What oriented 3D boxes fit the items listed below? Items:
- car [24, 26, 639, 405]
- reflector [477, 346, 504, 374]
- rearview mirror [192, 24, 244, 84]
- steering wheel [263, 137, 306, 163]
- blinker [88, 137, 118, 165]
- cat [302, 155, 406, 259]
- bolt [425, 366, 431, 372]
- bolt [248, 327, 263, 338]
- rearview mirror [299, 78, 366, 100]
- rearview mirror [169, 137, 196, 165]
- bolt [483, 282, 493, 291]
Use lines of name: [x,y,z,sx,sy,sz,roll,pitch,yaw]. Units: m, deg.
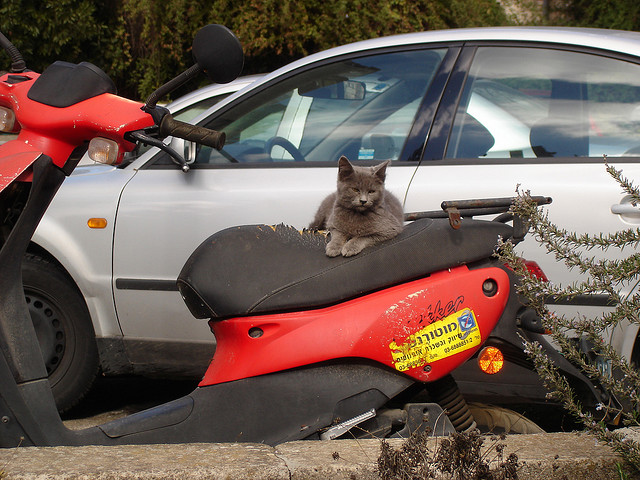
car: [0.069,-0.203,4.613,3.461,1.739,2.066,3,-6,5]
reflector: [0.777,0.542,3.194,0.117,0.119,0.028,-38,9,7]
rearview mirror: [-0.443,-0.805,3.024,0.212,0.250,0.192,-4,16,-8]
steering wheel: [-0.234,-0.589,4.467,0.261,0.123,0.165,-2,16,-5]
blinker: [-0.944,-0.397,3.050,0.091,0.081,0.048,13,14,15]
cat: [0.233,-0.165,3.555,0.370,0.356,0.661,3,-2,2]
bolt: [0.465,0.548,3.004,0.022,0.023,0.006,3,7,-3]
bolt: [-0.278,0.395,3.007,0.062,0.040,0.018,-2,16,-5]
rearview mirror: [0.083,-0.959,4.411,0.423,0.128,0.055,2,16,11]
rearview mirror: [-0.838,-0.547,4.271,0.158,0.150,0.146,-4,16,-10]
bolt: [0.743,0.201,3.080,0.035,0.037,0.009,-10,4,-21]
